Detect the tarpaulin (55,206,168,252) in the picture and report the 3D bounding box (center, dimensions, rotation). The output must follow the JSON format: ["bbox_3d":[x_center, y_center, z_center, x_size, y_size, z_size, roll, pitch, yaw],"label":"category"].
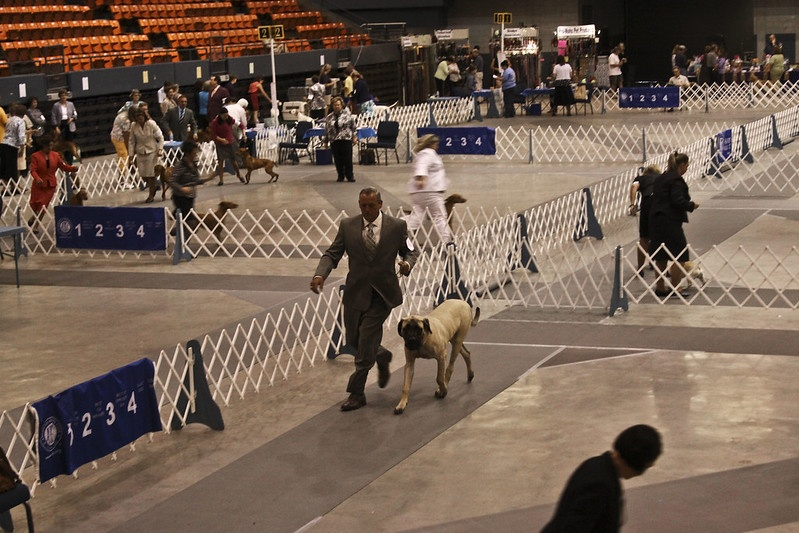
[{"bbox_3d":[-4.961,-0.678,15.358,2.178,0.838,0.248,0,9,13],"label":"tarpaulin"}]

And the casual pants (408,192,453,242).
[{"bbox_3d":[0.504,-0.883,14.442,0.849,0.968,0.734,0,-2,9],"label":"casual pants"}]

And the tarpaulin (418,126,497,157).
[{"bbox_3d":[1.478,-3.146,22.180,1.854,0.822,0.091,10,22,30],"label":"tarpaulin"}]

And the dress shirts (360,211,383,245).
[{"bbox_3d":[-0.295,-0.418,9.354,0.192,0.311,0.149,-5,-4,13],"label":"dress shirts"}]

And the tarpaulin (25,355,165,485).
[{"bbox_3d":[-2.938,1.550,8.694,0.138,0.570,0.998,1,19,34],"label":"tarpaulin"}]

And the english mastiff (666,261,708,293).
[{"bbox_3d":[4.008,0.131,12.532,0.271,0.667,0.892,-2,2,-3],"label":"english mastiff"}]

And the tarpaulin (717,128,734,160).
[{"bbox_3d":[7.716,-2.948,21.195,0.176,0.732,0.677,6,10,33],"label":"tarpaulin"}]

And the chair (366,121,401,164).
[{"bbox_3d":[-0.385,-3.383,23.803,0.647,1.143,0.768,5,5,11],"label":"chair"}]

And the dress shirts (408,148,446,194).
[{"bbox_3d":[0.444,-1.582,14.474,0.525,0.707,0.855,0,10,10],"label":"dress shirts"}]

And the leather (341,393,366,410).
[{"bbox_3d":[-0.493,1.464,9.577,0.108,0.140,0.314,-3,-3,24],"label":"leather"}]

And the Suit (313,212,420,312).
[{"bbox_3d":[-0.340,0.216,9.426,0.960,1.782,0.593,1,4,-3],"label":"Suit"}]
